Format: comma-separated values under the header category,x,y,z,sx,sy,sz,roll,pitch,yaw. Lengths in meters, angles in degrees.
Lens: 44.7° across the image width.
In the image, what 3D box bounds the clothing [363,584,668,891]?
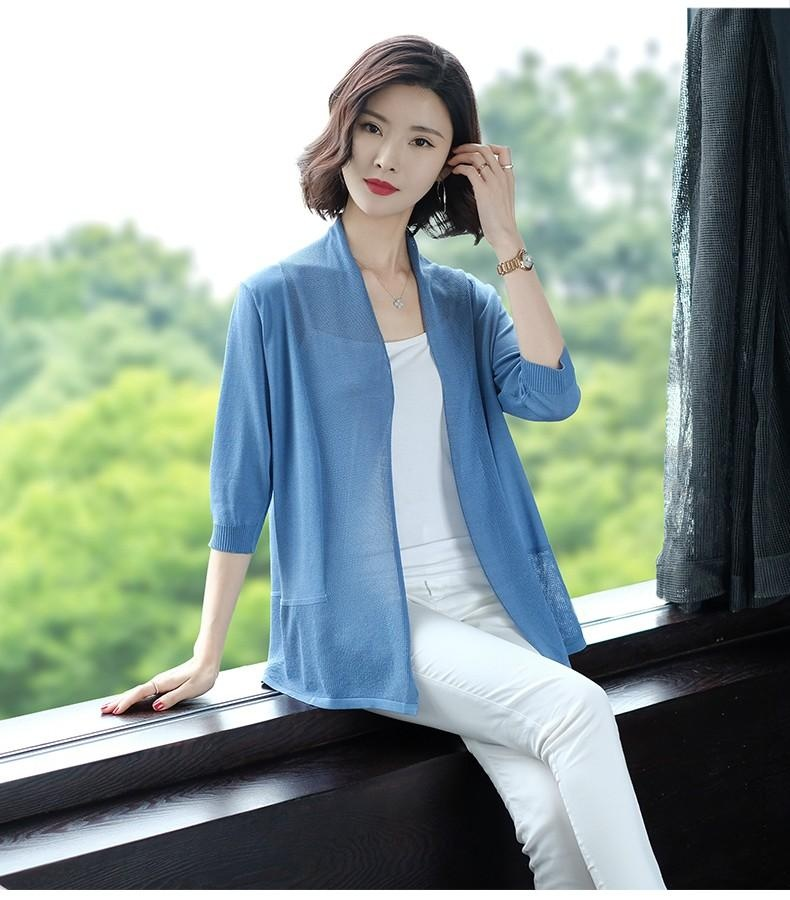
category,x,y,z,sx,sy,sz,roll,pitch,yaw
clothing,0.206,0.419,1.433,0.205,0.492,0.238,-44,-33,13
